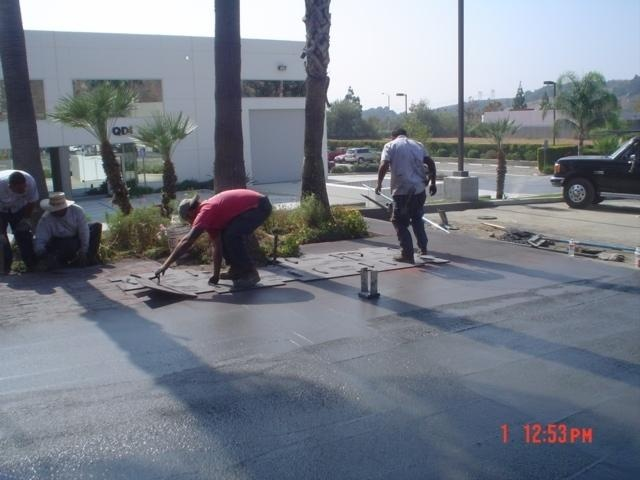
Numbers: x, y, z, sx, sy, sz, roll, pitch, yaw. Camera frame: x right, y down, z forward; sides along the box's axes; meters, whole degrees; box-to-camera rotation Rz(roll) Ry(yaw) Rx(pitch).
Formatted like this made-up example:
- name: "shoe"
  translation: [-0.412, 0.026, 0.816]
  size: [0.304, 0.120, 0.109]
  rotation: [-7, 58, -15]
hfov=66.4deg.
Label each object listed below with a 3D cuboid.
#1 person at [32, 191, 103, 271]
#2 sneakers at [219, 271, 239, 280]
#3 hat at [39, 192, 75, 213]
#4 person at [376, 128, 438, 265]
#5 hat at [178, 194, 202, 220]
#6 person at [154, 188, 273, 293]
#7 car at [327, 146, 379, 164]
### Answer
- name: "person"
  translation: [-4.284, -0.125, 8.268]
  size: [1.038, 1.448, 0.742]
  rotation: [-19, 33, -39]
- name: "sneakers"
  translation: [-1.377, 0.547, 7.422]
  size: [0.329, 0.166, 0.126]
  rotation: [7, 8, 36]
- name: "hat"
  translation: [-4.336, -0.571, 7.993]
  size: [0.442, 0.192, 0.453]
  rotation: [1, 40, -18]
- name: "person"
  translation: [1.565, -0.814, 8.690]
  size: [0.995, 2.265, 0.831]
  rotation: [-11, 17, -42]
- name: "hat"
  translation: [-1.903, -0.392, 7.012]
  size: [0.140, 0.400, 0.287]
  rotation: [23, 33, -19]
- name: "person"
  translation: [-1.577, -0.010, 7.161]
  size: [1.675, 1.420, 0.927]
  rotation: [-7, 2, -30]
- name: "car"
  translation: [3.762, -8.288, 48.606]
  size: [2.705, 1.574, 5.384]
  rotation: [-11, 18, -40]
